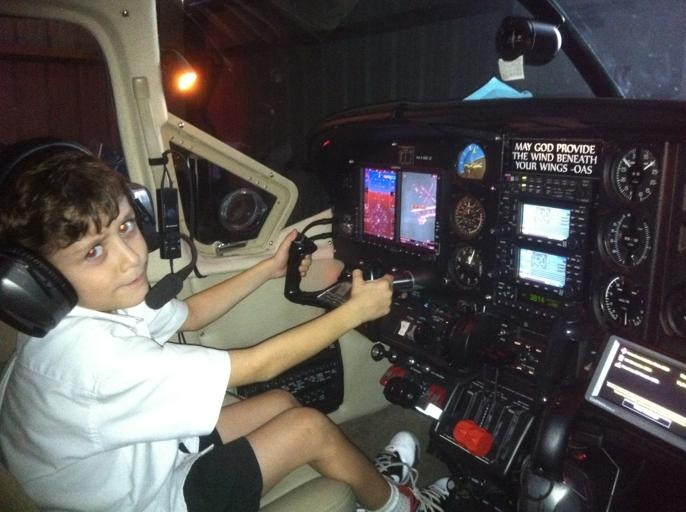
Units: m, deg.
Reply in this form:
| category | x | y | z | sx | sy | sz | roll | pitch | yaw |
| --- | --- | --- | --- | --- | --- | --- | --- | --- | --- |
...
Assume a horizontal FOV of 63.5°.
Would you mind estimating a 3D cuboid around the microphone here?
| category | x | y | z | sx | sy | sz | roll | pitch | yaw |
| --- | --- | --- | --- | --- | --- | --- | --- | --- | --- |
| microphone | -0.667 | 0.046 | 2.095 | 0.185 | 0.036 | 0.334 | 44 | 10 | -40 |
